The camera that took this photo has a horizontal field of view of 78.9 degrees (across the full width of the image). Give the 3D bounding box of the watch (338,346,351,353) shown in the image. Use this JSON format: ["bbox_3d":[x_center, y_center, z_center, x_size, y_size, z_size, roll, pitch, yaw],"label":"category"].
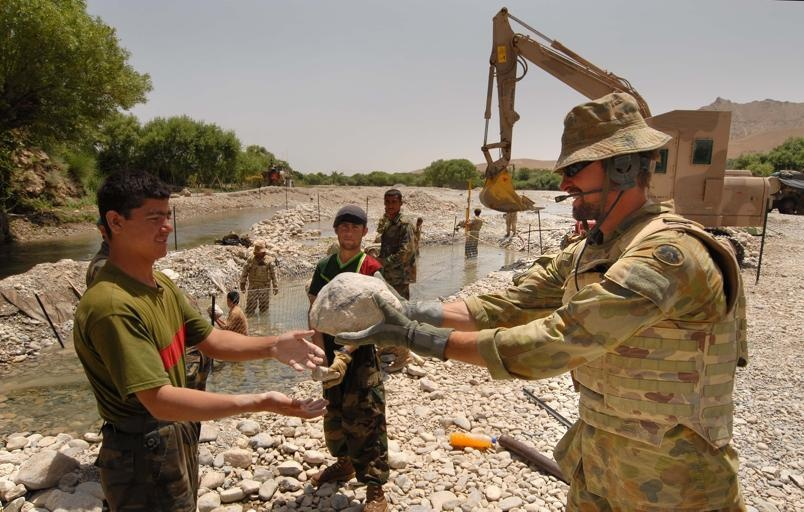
[{"bbox_3d":[-0.566,0.935,4.931,0.087,0.054,0.079,0,-5,10],"label":"watch"}]

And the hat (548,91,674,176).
[{"bbox_3d":[1.727,-1.043,3.876,0.911,0.450,1.038,-20,15,-37],"label":"hat"}]

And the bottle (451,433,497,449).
[{"bbox_3d":[0.860,2.216,5.919,0.430,0.114,0.210,-1,5,1],"label":"bottle"}]

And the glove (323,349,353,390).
[{"bbox_3d":[-0.583,1.090,4.612,0.272,0.384,0.198,13,8,23],"label":"glove"}]

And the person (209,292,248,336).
[{"bbox_3d":[-3.026,1.050,8.636,0.631,0.822,0.527,1,7,-38],"label":"person"}]

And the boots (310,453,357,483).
[{"bbox_3d":[-0.726,2.358,5.529,0.636,0.373,0.220,6,-1,-4],"label":"boots"}]
